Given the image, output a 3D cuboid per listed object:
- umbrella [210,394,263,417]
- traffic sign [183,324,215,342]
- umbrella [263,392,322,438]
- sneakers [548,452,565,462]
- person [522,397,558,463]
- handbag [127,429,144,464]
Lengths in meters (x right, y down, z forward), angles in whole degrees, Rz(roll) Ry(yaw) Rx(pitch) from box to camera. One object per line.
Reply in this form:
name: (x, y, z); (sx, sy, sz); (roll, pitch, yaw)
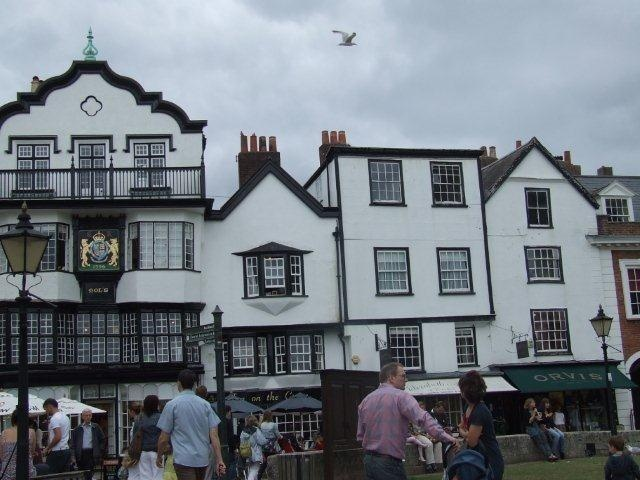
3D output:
umbrella: (-3.025, 6.335, 33.066); (2.016, 0.713, 2.048); (0, -9, 4)
traffic sign: (-3.377, 2.632, 24.078); (0.433, 0.473, 1.452); (6, -16, -32)
umbrella: (-1.212, 7.231, 35.391); (2.784, 1.943, 2.567); (0, -14, 1)
sneakers: (7.239, 6.707, 26.336); (0.216, 0.241, 0.575); (-1, -18, -11)
person: (6.944, 6.128, 27.031); (0.812, 1.638, 1.165); (-6, -14, 12)
handbag: (-4.188, 4.643, 19.202); (0.297, 0.771, 0.872); (0, -14, -13)
